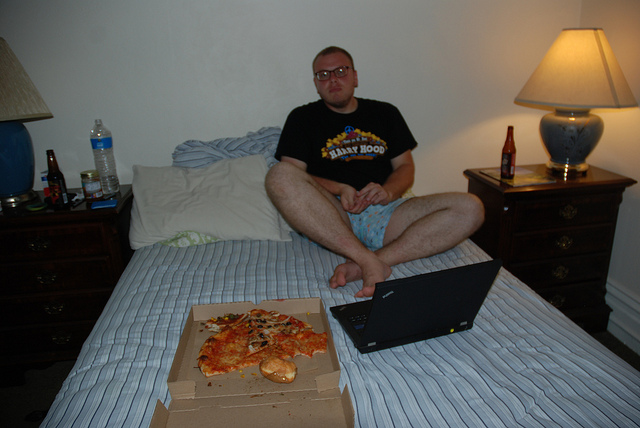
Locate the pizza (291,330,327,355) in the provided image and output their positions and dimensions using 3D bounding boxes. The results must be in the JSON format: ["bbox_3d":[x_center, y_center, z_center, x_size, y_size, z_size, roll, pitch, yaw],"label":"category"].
[{"bbox_3d":[-0.044,0.502,1.722,0.139,0.026,0.118,-3,21,-5],"label":"pizza"}]

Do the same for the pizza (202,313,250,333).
[{"bbox_3d":[-0.374,0.428,1.797,0.125,0.022,0.087,-9,25,-26],"label":"pizza"}]

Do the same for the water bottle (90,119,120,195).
[{"bbox_3d":[-1.275,-0.350,2.632,0.119,0.425,0.118,-1,20,0],"label":"water bottle"}]

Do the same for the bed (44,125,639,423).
[{"bbox_3d":[-0.002,0.118,2.071,2.076,0.704,1.862,-4,21,-8],"label":"bed"}]

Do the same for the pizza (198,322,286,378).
[{"bbox_3d":[-0.305,0.515,1.703,0.311,0.076,0.191,-7,21,-16],"label":"pizza"}]
